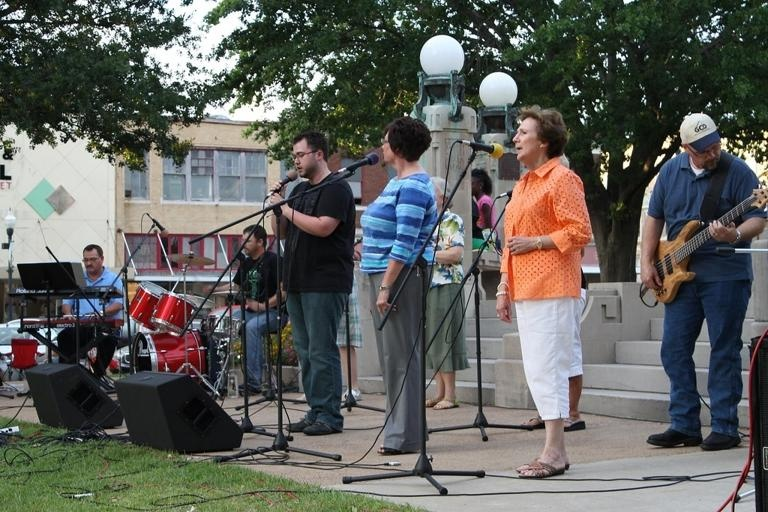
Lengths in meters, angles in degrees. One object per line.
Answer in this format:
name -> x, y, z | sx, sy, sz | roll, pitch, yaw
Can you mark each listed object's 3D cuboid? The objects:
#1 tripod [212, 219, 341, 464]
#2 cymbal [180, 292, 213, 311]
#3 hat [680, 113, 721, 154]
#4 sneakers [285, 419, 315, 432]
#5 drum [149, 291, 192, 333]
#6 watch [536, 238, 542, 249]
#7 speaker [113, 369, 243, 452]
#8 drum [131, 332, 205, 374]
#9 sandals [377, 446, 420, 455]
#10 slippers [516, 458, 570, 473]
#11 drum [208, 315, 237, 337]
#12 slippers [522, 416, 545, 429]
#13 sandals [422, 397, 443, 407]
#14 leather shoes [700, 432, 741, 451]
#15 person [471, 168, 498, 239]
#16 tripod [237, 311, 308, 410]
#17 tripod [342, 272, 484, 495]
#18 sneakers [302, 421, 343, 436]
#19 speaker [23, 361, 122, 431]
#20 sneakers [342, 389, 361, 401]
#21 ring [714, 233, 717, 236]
tripod -> -1.367, 1.177, 18.652 | 1.965, 3.247, 1.924 | 3, 2, 9
cymbal -> -3.499, 0.873, 25.438 | 0.560, 0.130, 0.571 | 10, -13, 42
hat -> 4.365, -1.765, 18.751 | 0.525, 0.376, 0.745 | -25, 22, -5
sneakers -> -1.194, 2.461, 19.567 | 0.435, 0.174, 0.162 | -1, -5, 0
drum -> -3.652, 0.924, 22.570 | 0.588, 0.593, 0.593 | 12, -8, -12
watch -> 2.071, -0.151, 17.944 | 0.062, 0.111, 0.082 | 2, -38, -8
speaker -> -2.842, 2.196, 18.767 | 1.670, 1.074, 0.526 | 0, -4, -8
drum -> -3.610, 1.620, 22.668 | 0.758, 0.818, 0.927 | -1, -1, -38
sandals -> 0.219, 2.633, 18.501 | 0.537, 0.143, 0.191 | 3, -8, -5
slippers -> 2.091, 2.810, 17.916 | 0.516, 0.126, 0.271 | 2, -10, -11
drum -> -2.655, 1.227, 23.094 | 0.441, 0.263, 0.395 | -5, -12, 18
slippers -> 2.163, 2.450, 19.752 | 0.387, 0.162, 0.131 | 7, -6, -30
sandals -> 0.735, 2.282, 21.031 | 0.163, 0.097, 0.332 | -5, -10, 33
leather shoes -> 4.596, 2.567, 18.571 | 0.578, 0.249, 0.215 | 4, -19, -10
person -> 1.755, -0.973, 23.965 | 0.394, 1.236, 0.891 | -1, -4, 4
tripod -> -2.048, 1.777, 23.202 | 1.058, 1.779, 1.130 | -1, -5, 36
tripod -> 0.425, 1.726, 17.981 | 1.792, 2.806, 0.817 | -1, -3, 5
sneakers -> -0.883, 2.499, 19.435 | 0.505, 0.153, 0.198 | 8, -11, -15
speaker -> -4.650, 1.923, 20.215 | 0.993, 0.912, 1.264 | 1, -3, -33
sneakers -> -0.474, 2.242, 21.803 | 0.164, 0.138, 0.323 | 2, -5, -13
ring -> 4.490, -0.276, 18.318 | 0.027, 0.031, 0.034 | 3, -7, -19
